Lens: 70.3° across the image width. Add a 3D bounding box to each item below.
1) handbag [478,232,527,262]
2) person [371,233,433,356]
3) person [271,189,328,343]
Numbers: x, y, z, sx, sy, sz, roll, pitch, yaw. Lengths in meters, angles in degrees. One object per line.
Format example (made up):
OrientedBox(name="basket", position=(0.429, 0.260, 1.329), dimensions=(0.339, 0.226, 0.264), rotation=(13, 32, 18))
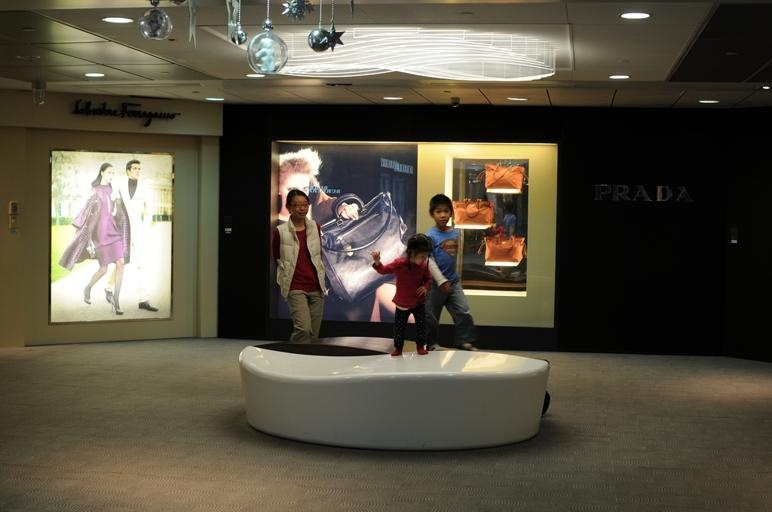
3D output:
OrientedBox(name="handbag", position=(2.119, -0.109, 9.877), dimensions=(0.882, 0.635, 0.434), rotation=(1, 8, 6))
OrientedBox(name="person", position=(0.183, 0.409, 5.871), dimensions=(0.572, 1.278, 0.727), rotation=(1, 2, 5))
OrientedBox(name="person", position=(-1.081, 0.109, 6.845), dimensions=(0.640, 1.872, 0.595), rotation=(0, 2, -10))
